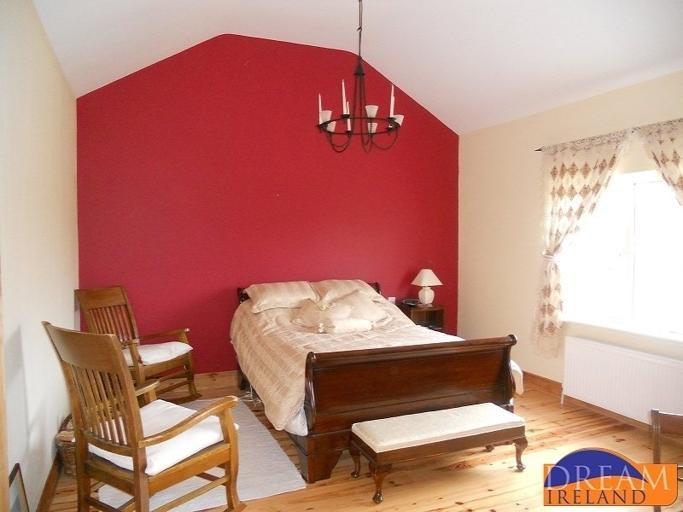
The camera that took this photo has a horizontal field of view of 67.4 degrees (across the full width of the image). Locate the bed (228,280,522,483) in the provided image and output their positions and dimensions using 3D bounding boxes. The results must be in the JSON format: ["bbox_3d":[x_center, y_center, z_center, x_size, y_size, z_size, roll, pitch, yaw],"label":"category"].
[{"bbox_3d":[0.281,0.976,4.255,1.171,0.857,1.460,-2,2,-23],"label":"bed"}]

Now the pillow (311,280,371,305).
[{"bbox_3d":[-0.010,0.379,5.705,0.403,0.098,0.330,-3,9,-28],"label":"pillow"}]

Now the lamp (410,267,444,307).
[{"bbox_3d":[1.003,0.395,6.269,0.463,0.570,0.438,-2,1,-39],"label":"lamp"}]

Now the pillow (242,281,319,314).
[{"bbox_3d":[-0.649,0.421,5.425,0.453,0.107,0.426,-4,14,-18],"label":"pillow"}]

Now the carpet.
[{"bbox_3d":[-0.839,1.560,3.809,0.900,0.015,0.966,-3,9,-34],"label":"carpet"}]
